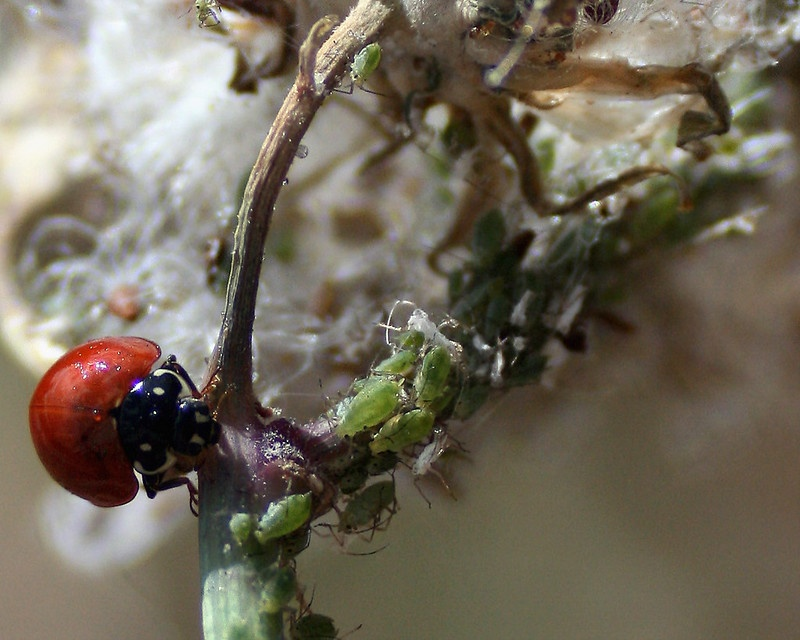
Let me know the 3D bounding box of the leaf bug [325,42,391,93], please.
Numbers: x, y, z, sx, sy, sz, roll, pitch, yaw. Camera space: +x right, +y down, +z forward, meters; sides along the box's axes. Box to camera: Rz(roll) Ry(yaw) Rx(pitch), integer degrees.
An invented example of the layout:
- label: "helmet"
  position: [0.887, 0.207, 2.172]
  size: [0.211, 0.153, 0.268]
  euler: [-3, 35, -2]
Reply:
- label: "leaf bug"
  position: [-0.042, -0.346, 1.554]
  size: [0.056, 0.092, 0.022]
  euler: [-14, 49, -27]

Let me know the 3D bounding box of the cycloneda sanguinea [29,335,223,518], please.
- label: "cycloneda sanguinea"
  position: [-0.366, 0.127, 1.534]
  size: [0.224, 0.142, 0.253]
  euler: [-8, 58, 1]

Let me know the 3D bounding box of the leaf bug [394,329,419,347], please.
- label: "leaf bug"
  position: [0.006, 0.017, 1.573]
  size: [0.022, 0.009, 0.021]
  euler: [-8, 85, 7]

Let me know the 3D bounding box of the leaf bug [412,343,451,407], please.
- label: "leaf bug"
  position: [0.041, 0.069, 1.551]
  size: [0.038, 0.026, 0.086]
  euler: [25, 108, 17]

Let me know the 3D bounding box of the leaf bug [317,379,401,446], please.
- label: "leaf bug"
  position: [-0.050, 0.100, 1.540]
  size: [0.065, 0.085, 0.068]
  euler: [-12, 18, -39]

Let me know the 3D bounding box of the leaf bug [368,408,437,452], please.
- label: "leaf bug"
  position: [0.004, 0.139, 1.551]
  size: [0.085, 0.047, 0.031]
  euler: [-38, 10, 3]

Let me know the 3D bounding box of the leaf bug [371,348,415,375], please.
- label: "leaf bug"
  position: [-0.013, 0.055, 1.571]
  size: [0.050, 0.018, 0.028]
  euler: [-36, 55, -4]
